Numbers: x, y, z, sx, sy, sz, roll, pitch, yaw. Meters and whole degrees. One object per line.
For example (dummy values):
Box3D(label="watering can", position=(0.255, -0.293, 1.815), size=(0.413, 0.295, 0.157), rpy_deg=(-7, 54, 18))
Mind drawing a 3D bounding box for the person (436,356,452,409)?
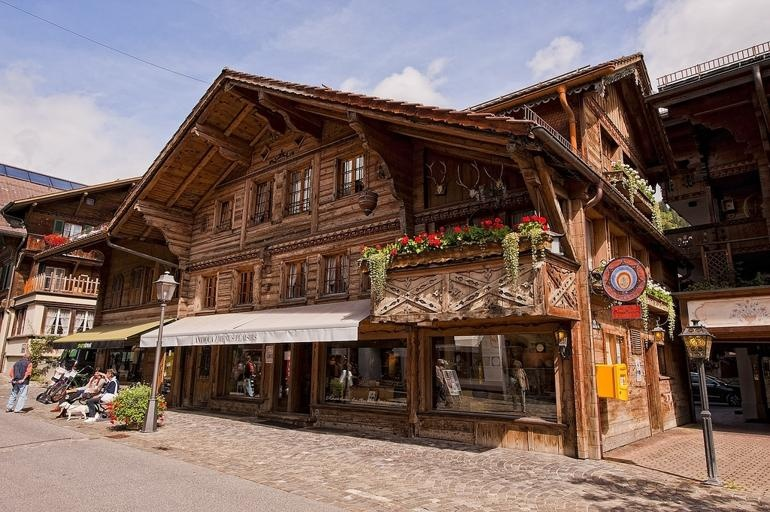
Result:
Box3D(label="person", position=(1.930, 4.323, 17.095), size=(0.495, 1.590, 0.350), rpy_deg=(-7, -19, 24))

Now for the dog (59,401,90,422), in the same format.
Box3D(label="dog", position=(-12.162, 6.033, 19.556), size=(0.935, 0.672, 1.668), rpy_deg=(10, -18, -29))

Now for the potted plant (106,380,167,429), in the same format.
Box3D(label="potted plant", position=(-9.083, 5.471, 18.307), size=(1.817, 1.468, 1.862), rpy_deg=(10, -8, -21))

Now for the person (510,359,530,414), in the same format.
Box3D(label="person", position=(4.278, 4.164, 15.942), size=(0.501, 1.642, 0.397), rpy_deg=(-3, -18, 12))

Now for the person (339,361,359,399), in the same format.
Box3D(label="person", position=(-1.449, 4.717, 18.857), size=(0.300, 1.372, 0.714), rpy_deg=(14, -21, -36))
